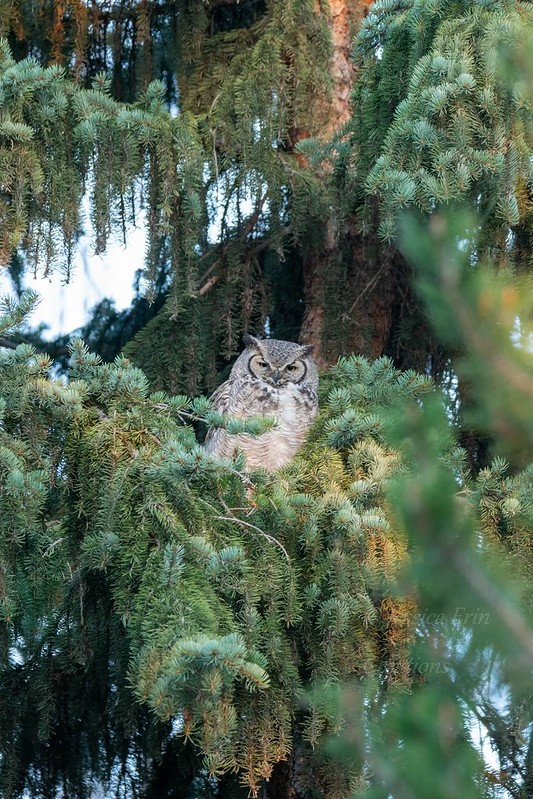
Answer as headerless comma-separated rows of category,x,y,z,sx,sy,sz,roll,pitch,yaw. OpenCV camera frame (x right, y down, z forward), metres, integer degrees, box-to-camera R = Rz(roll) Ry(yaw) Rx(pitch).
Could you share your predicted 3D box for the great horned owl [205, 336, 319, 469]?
great horned owl,0.001,0.029,6.384,0.437,0.675,0.570,5,8,-5
